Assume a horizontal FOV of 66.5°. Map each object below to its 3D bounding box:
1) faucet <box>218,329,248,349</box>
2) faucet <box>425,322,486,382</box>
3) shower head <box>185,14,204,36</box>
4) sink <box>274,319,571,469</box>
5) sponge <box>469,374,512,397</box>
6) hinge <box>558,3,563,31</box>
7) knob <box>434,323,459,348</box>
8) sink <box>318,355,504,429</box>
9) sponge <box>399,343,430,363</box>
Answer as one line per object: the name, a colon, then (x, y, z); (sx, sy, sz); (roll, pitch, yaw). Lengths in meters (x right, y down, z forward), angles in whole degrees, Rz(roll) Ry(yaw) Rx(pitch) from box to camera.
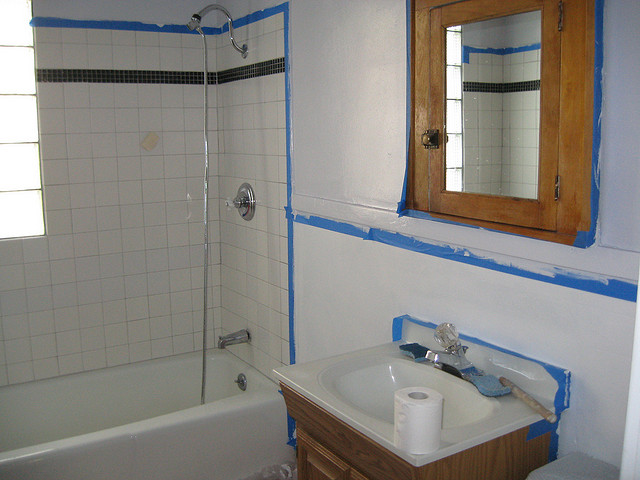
faucet: (-0.586, 0.661, 3.271); (0.174, 0.075, 0.108); (-11, 15, -29)
faucet: (0.461, 0.388, 1.785); (0.193, 0.220, 0.174); (-4, 12, -30)
shower head: (-0.752, -1.302, 2.939); (0.075, 0.099, 0.173); (-3, 16, -10)
sink: (0.324, 0.472, 1.670); (0.660, 0.327, 0.799); (-14, 21, -39)
sponge: (0.562, 0.483, 1.652); (0.104, 0.030, 0.138); (-6, 17, -18)
hinge: (0.736, -0.688, 1.503); (0.014, 0.080, 0.009); (6, 15, 26)
knob: (0.439, 0.333, 1.718); (0.069, 0.087, 0.060); (5, -3, 38)
sink: (0.305, 0.507, 1.751); (0.501, 0.202, 0.534); (-4, 7, -33)
sponge: (0.361, 0.427, 1.881); (0.063, 0.023, 0.080); (-8, 14, -23)
